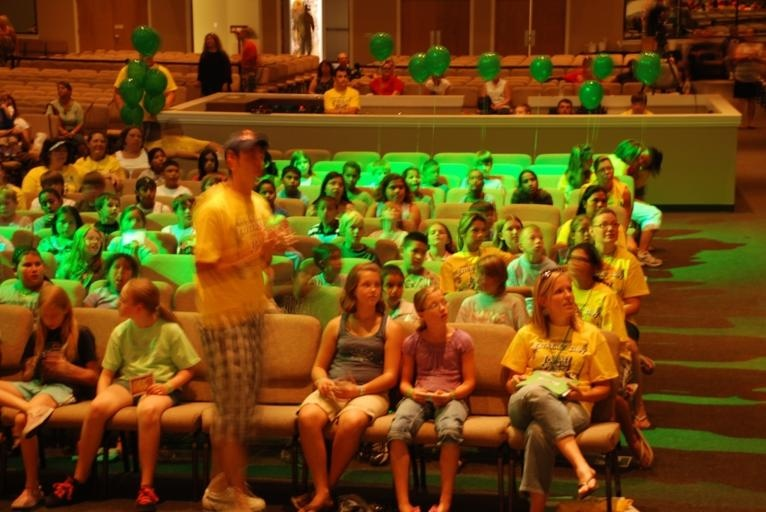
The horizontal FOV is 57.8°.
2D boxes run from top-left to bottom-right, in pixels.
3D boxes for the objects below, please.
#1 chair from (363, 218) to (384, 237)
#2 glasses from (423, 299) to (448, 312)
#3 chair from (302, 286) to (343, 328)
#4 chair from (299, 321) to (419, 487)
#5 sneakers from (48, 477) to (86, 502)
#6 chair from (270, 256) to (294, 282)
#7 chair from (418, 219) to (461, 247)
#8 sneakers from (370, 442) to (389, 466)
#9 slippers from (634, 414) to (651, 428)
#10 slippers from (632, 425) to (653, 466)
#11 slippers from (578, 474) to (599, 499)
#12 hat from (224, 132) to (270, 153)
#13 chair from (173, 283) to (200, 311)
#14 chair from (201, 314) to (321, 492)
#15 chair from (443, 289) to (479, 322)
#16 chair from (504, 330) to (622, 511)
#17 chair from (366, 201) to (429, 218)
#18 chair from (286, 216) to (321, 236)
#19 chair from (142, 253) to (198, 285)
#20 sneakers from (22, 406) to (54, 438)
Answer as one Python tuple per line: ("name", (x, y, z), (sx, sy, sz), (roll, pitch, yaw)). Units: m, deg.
("chair", (-0.112, -0.284, 6.796), (0.164, 0.117, 0.162), (-1, -9, 15))
("glasses", (0.330, 0.318, 4.456), (0.153, 0.073, 0.057), (-2, 7, -9))
("chair", (-0.455, 0.405, 5.261), (0.303, 0.279, 0.296), (4, -13, -1))
("chair", (-0.253, 0.914, 4.480), (0.561, 0.978, 0.756), (2, 8, 23))
("sneakers", (-1.990, 1.480, 4.364), (0.124, 0.084, 0.210), (5, 7, 24))
("chair", (-0.783, 0.101, 5.378), (0.187, 0.181, 0.177), (1, 11, -1))
("chair", (0.536, -0.229, 6.692), (0.299, 0.375, 0.313), (0, -3, 3))
("sneakers", (-0.032, 1.395, 4.874), (0.102, 0.122, 0.294), (-2, -7, 5))
("slippers", (1.909, 1.225, 5.133), (0.095, 0.056, 0.095), (-3, -33, 29))
("slippers", (1.777, 1.316, 4.773), (0.072, 0.277, 0.101), (-30, -22, 29))
("slippers", (1.156, 1.318, 3.927), (0.093, 0.173, 0.133), (2, 8, 22))
("hat", (-0.737, -0.583, 3.674), (0.178, 0.088, 0.123), (-6, 1, 20))
("chair", (-1.536, 0.320, 5.328), (0.154, 0.198, 0.273), (-4, 7, -21))
("chair", (-0.653, 0.798, 4.731), (0.755, 0.990, 0.866), (1, -3, 2))
("chair", (0.545, 0.352, 5.146), (0.232, 0.217, 0.202), (-8, 9, -30))
("chair", (1.054, 0.948, 4.250), (0.696, 0.996, 0.725), (2, 8, 18))
("chair", (0.232, -0.507, 7.749), (0.303, 0.154, 0.379), (-7, 0, -41))
("chair", (-0.813, -0.320, 7.016), (0.224, 0.279, 0.234), (4, 11, 16))
("chair", (-1.817, 0.118, 5.950), (0.554, 0.255, 0.179), (2, 8, 19))
("sneakers", (-2.228, 1.051, 4.497), (0.105, 0.245, 0.087), (42, -3, 0))
